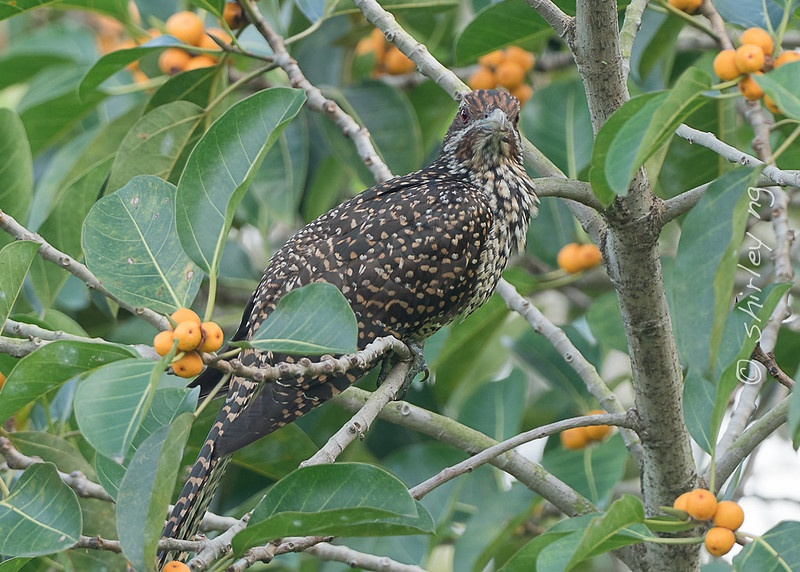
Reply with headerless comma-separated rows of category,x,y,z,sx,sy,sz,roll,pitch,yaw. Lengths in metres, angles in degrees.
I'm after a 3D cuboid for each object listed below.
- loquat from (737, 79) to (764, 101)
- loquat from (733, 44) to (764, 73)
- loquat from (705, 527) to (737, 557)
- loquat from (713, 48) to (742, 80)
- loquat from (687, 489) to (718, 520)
loquat,1.272,-0.714,4.171,0.085,0.066,0.081,-11,54,-28
loquat,1.276,-0.823,4.238,0.095,0.103,0.100,10,35,4
loquat,1.166,0.929,4.174,0.120,0.124,0.095,-7,9,6
loquat,1.199,-0.806,4.223,0.100,0.121,0.097,-1,2,-45
loquat,1.101,0.798,4.188,0.110,0.104,0.065,-5,9,19
